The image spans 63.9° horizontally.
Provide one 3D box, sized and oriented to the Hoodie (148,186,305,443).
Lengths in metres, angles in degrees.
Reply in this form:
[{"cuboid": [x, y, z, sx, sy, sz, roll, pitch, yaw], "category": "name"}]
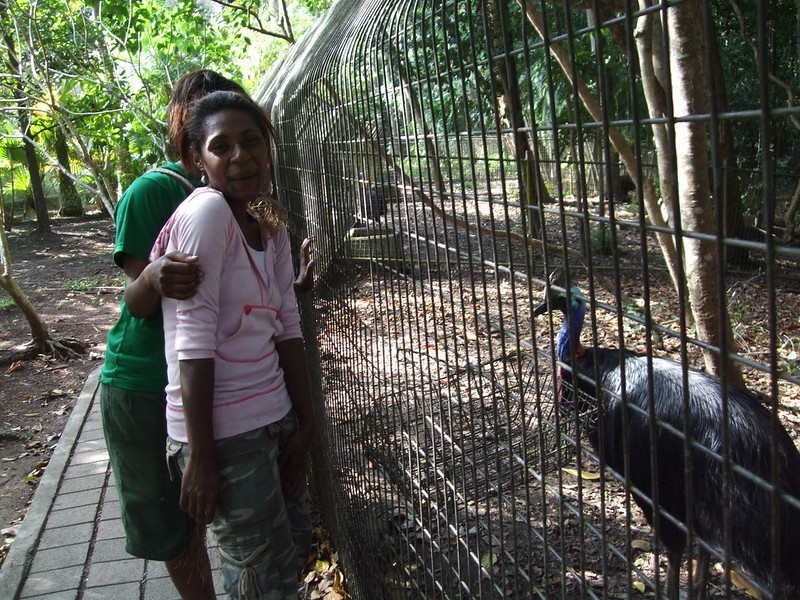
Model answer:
[{"cuboid": [-0.616, 0.027, 2.342, 0.572, 0.875, 0.388, -12, 14, -26], "category": "Hoodie"}]
